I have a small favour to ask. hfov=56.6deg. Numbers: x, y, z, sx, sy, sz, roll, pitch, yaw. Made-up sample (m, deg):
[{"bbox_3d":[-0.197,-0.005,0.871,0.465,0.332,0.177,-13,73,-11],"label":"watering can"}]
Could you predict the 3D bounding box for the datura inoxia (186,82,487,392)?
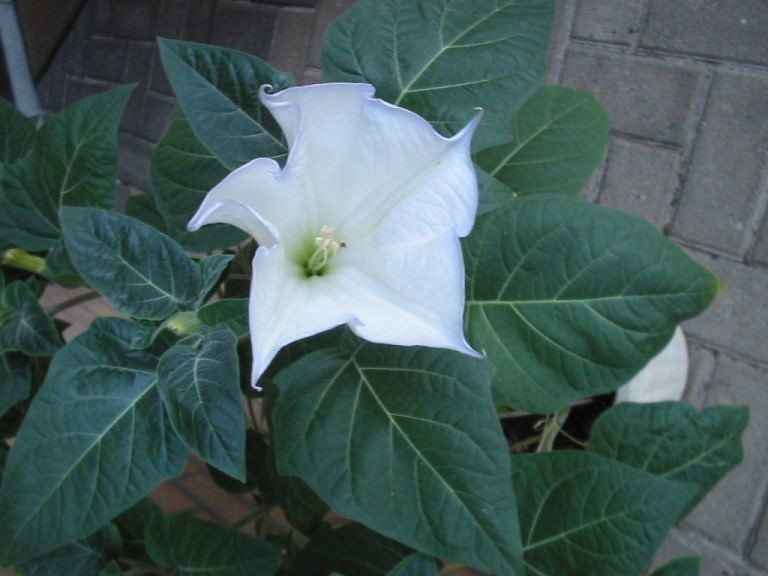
[{"bbox_3d":[-0.037,-0.056,0.570,0.222,0.209,0.181,11,21,-18],"label":"datura inoxia"}]
